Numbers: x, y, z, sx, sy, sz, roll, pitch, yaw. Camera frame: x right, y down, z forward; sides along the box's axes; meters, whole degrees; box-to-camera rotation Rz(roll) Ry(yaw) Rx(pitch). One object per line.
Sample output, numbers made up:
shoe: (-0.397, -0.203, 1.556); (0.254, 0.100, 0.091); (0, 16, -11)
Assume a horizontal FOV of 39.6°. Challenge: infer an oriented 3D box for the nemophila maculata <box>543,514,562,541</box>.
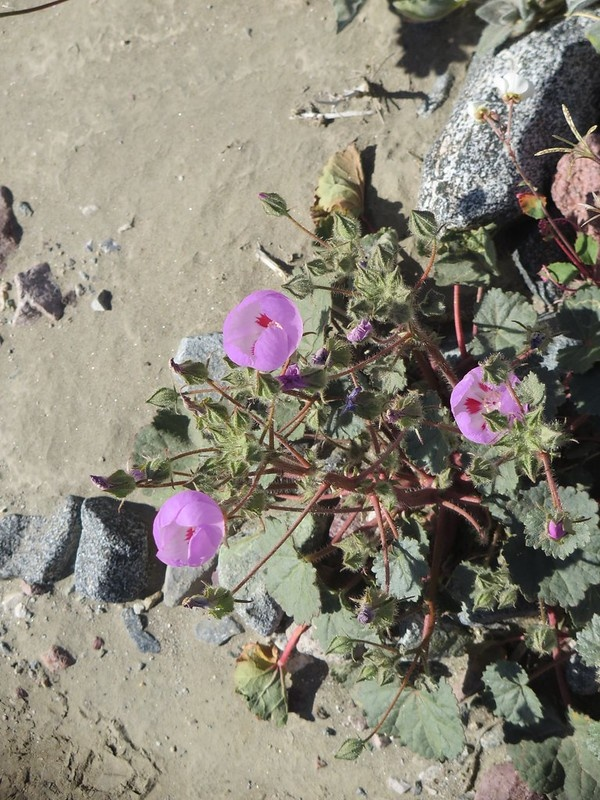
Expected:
nemophila maculata: (0.964, 0.493, 3.199); (0.075, 0.070, 0.083); (2, 70, -48)
